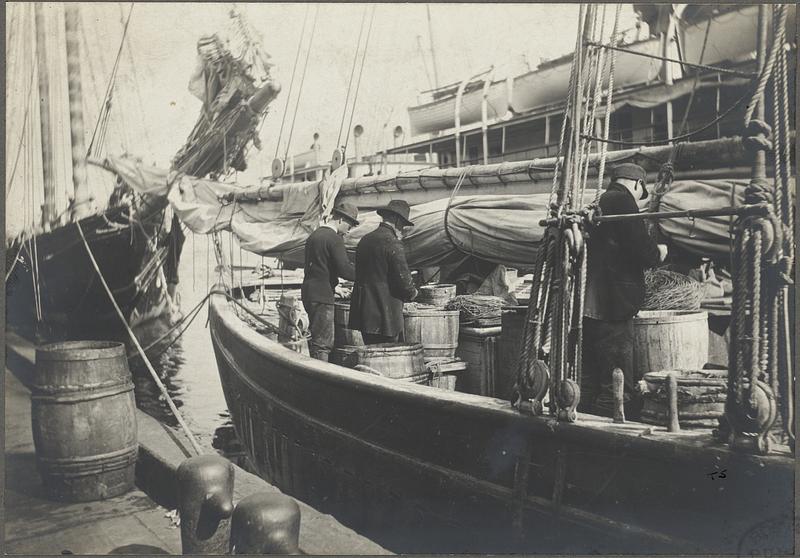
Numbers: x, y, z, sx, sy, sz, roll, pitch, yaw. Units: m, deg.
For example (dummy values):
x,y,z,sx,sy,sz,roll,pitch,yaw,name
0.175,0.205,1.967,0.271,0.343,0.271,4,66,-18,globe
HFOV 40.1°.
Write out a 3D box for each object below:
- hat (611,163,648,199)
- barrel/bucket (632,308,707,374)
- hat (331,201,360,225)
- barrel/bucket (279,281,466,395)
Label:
x,y,z,sx,sy,sz,roll,pitch,yaw,name
1.970,-0.828,9.269,0.330,0.170,0.255,26,-21,-30,hat
2.266,0.548,9.247,0.593,0.595,0.596,-4,6,0,barrel/bucket
-0.472,-0.592,9.777,0.218,0.116,0.190,16,-5,-5,hat
-0.253,0.617,9.582,1.247,0.449,0.990,8,-8,21,barrel/bucket
